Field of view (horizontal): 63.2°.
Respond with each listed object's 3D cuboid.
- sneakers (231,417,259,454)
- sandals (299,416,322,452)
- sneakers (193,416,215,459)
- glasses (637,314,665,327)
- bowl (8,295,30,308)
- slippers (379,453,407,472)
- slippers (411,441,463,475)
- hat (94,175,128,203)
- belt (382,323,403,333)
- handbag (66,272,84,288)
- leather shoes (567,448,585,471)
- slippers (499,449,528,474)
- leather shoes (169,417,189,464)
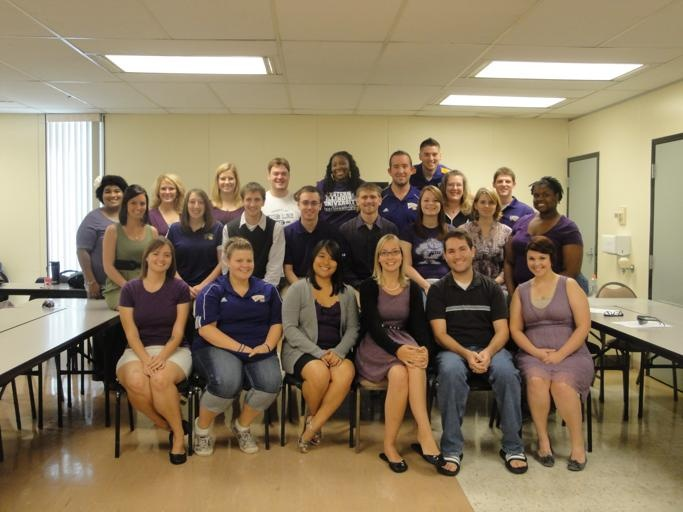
[{"bbox_3d":[-0.717,1.342,4.200,0.122,0.129,0.324,-2,12,-34],"label":"sneakers"},{"bbox_3d":[-0.237,1.318,4.197,0.139,0.268,0.098,11,-12,-39],"label":"sandals"},{"bbox_3d":[-1.007,1.349,4.077,0.127,0.122,0.309,1,-5,-17],"label":"sneakers"},{"bbox_3d":[2.442,0.504,4.406,0.166,0.044,0.092,0,3,19],"label":"glasses"},{"bbox_3d":[-3.478,0.475,5.995,0.176,0.130,0.172,1,0,0],"label":"bowl"},{"bbox_3d":[0.382,1.456,4.000,0.154,0.058,0.258,-3,12,-19],"label":"slippers"},{"bbox_3d":[0.662,1.433,3.952,0.161,0.069,0.259,-8,11,-43],"label":"slippers"},{"bbox_3d":[-2.310,-0.702,5.633,0.335,0.347,0.145,4,0,-12],"label":"hat"},{"bbox_3d":[0.396,0.546,4.290,0.140,0.047,0.050,1,11,1],"label":"belt"},{"bbox_3d":[-2.902,0.252,6.064,0.202,0.211,0.147,4,8,-25],"label":"handbag"},{"bbox_3d":[1.695,1.434,3.990,0.127,0.122,0.218,6,12,25],"label":"leather shoes"},{"bbox_3d":[1.233,1.445,3.987,0.206,0.116,0.196,5,12,22],"label":"slippers"},{"bbox_3d":[-1.193,1.404,4.147,0.113,0.146,0.369,1,-3,-11],"label":"leather shoes"}]
